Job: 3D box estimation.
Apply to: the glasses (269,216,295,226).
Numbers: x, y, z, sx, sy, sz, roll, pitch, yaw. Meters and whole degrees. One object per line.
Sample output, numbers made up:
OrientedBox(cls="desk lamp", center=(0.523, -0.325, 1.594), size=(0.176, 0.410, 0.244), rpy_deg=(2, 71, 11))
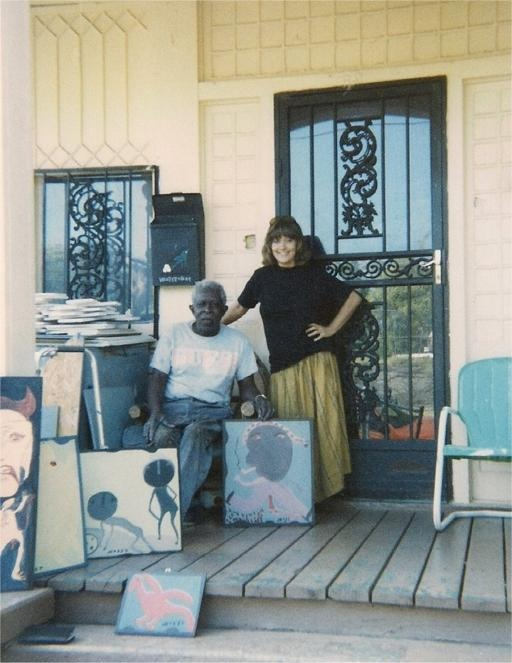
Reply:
OrientedBox(cls="glasses", center=(0.148, -0.622, 4.540), size=(0.092, 0.044, 0.120), rpy_deg=(0, 4, 5))

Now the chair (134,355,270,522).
OrientedBox(cls="chair", center=(-0.267, 0.459, 4.206), size=(0.687, 0.530, 1.267), rpy_deg=(2, 26, -6))

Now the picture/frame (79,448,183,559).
OrientedBox(cls="picture/frame", center=(-0.582, 0.787, 3.629), size=(0.506, 0.492, 0.049), rpy_deg=(0, -18, -14))

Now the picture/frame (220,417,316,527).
OrientedBox(cls="picture/frame", center=(0.067, 0.719, 4.067), size=(0.544, 0.595, 0.078), rpy_deg=(-1, -17, 2))
